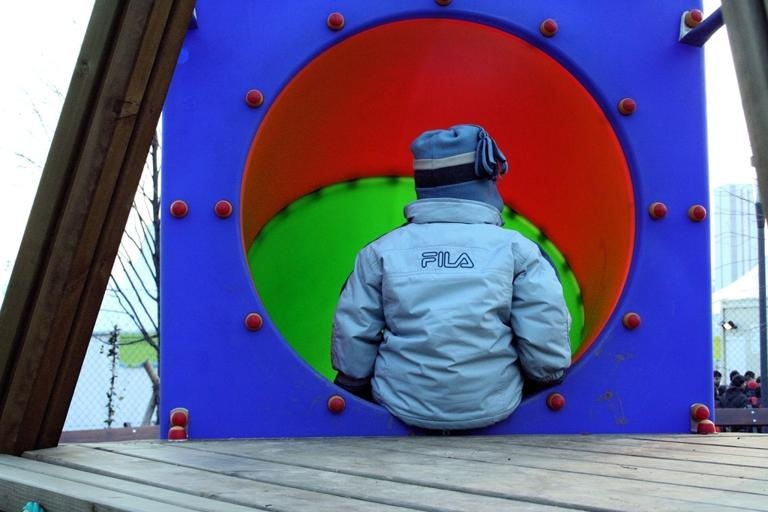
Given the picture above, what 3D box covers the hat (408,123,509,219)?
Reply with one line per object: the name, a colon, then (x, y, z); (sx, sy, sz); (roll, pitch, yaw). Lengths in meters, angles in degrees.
hat: (0.358, -0.456, 3.376); (0.416, 0.418, 0.351); (-12, 20, -14)
